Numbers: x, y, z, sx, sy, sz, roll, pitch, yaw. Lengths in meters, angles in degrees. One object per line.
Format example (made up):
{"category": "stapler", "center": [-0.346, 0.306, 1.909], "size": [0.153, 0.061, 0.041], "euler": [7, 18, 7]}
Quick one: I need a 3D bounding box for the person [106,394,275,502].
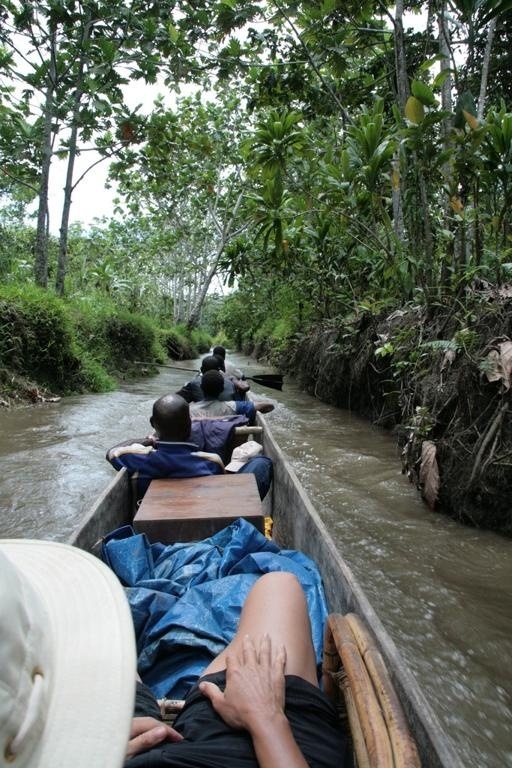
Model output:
{"category": "person", "center": [-0.376, 0.222, 2.904], "size": [0.622, 0.584, 0.862], "euler": [-4, 7, -2]}

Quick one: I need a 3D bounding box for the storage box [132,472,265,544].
{"category": "storage box", "center": [-0.242, 0.549, 2.235], "size": [0.525, 0.220, 0.488], "euler": [5, 4, -3]}
